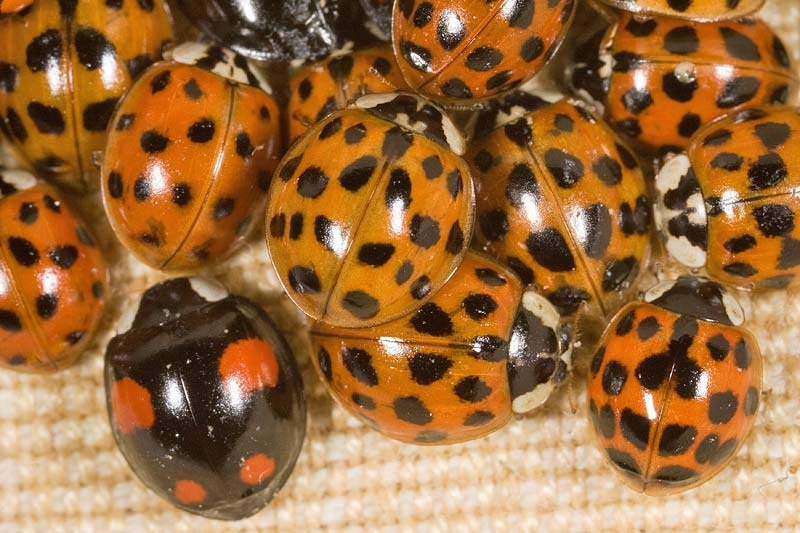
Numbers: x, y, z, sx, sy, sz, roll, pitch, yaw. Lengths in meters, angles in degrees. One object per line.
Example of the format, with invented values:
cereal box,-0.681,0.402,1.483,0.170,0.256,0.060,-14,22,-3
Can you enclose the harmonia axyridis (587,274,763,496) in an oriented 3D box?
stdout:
harmonia axyridis,0.384,0.169,1.300,0.224,0.213,0.221,37,48,24

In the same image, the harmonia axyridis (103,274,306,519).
harmonia axyridis,-0.278,0.189,1.312,0.239,0.239,0.278,-28,56,-36

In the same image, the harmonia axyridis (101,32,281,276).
harmonia axyridis,-0.289,-0.149,1.296,0.211,0.233,0.240,24,44,13
